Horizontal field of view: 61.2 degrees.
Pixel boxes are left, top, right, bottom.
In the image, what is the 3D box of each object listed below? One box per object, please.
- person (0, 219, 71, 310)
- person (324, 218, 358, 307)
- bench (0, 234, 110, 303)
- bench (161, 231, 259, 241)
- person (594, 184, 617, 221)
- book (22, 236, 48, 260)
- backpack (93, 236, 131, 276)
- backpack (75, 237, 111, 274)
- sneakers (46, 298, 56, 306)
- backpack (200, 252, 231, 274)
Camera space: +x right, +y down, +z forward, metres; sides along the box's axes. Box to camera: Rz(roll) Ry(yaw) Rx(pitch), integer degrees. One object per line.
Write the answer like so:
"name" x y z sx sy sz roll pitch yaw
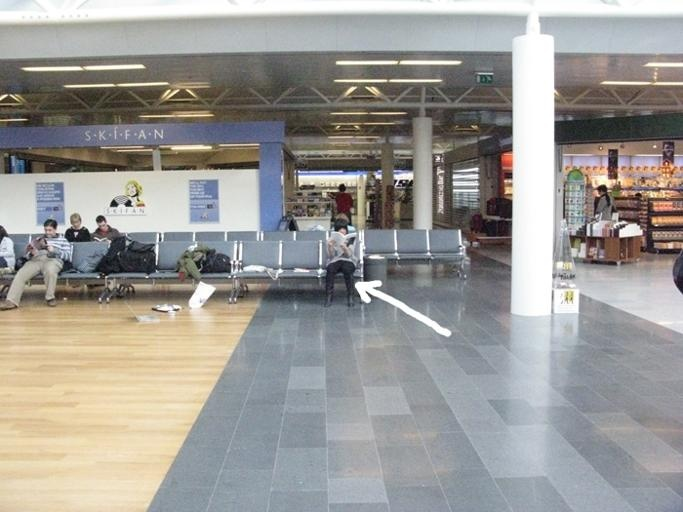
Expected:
"person" -5.018 0.217 9.522 0.626 1.121 1.099 0 10 4
"person" -0.013 0.103 9.405 0.492 1.254 0.933 -1 11 1
"bench" -4.855 0.096 9.930 1.695 1.268 1.278 -1 -5 -2
"bench" -2.639 -0.408 11.764 1.887 0.184 0.495 -3 10 -15
"person" 6.800 -1.391 14.848 0.423 0.850 1.440 4 11 25
"book" -5.162 -0.080 9.765 0.400 0.471 0.250 11 -3 -17
"backpack" -3.834 -0.019 9.749 0.503 0.603 0.208 5 -25 32
"backpack" -4.345 0.045 10.080 0.635 0.567 0.168 -9 -25 23
"sneakers" -4.736 0.766 9.438 0.115 0.095 0.229 -2 -7 -33
"backpack" -2.087 0.121 9.612 0.367 0.298 0.457 -1 2 -9
